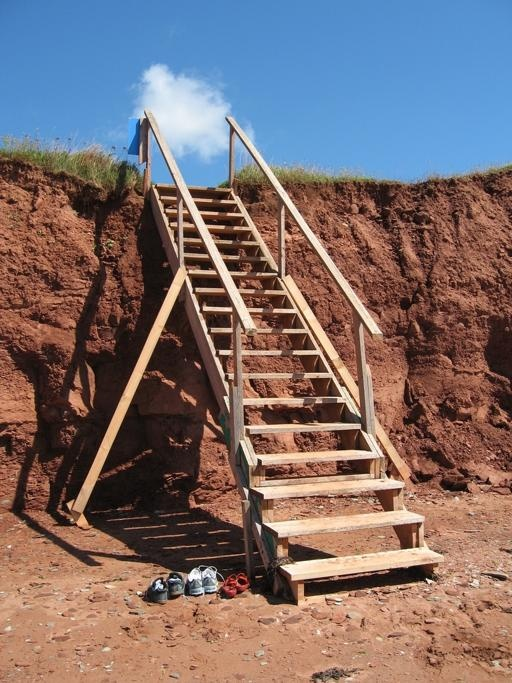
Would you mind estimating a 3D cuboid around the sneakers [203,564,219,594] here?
[{"bbox_3d":[-0.288,1.486,4.603,0.082,0.098,0.229,0,-11,-3],"label":"sneakers"}]

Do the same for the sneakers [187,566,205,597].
[{"bbox_3d":[-0.381,1.485,4.554,0.113,0.120,0.177,-1,1,-9],"label":"sneakers"}]

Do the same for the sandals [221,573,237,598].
[{"bbox_3d":[-0.169,1.503,4.536,0.065,0.052,0.175,2,3,-1],"label":"sandals"}]

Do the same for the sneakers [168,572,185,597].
[{"bbox_3d":[-0.490,1.486,4.505,0.074,0.086,0.203,0,-11,-8],"label":"sneakers"}]

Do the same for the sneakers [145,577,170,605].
[{"bbox_3d":[-0.600,1.500,4.444,0.137,0.100,0.177,-1,1,-23],"label":"sneakers"}]
